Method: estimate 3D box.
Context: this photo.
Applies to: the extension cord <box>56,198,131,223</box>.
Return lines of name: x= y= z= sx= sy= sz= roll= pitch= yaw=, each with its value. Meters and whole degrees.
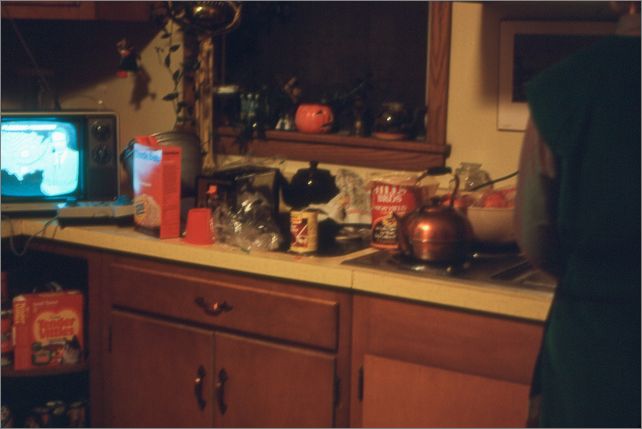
extension cord: x=-0.859 y=-0.020 z=2.254 sx=0.267 sy=0.075 sz=0.135 roll=-4 pitch=7 yaw=-24

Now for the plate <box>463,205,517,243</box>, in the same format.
plate: x=0.566 y=0.021 z=1.967 sx=0.170 sy=0.107 sz=0.170 roll=3 pitch=3 yaw=35

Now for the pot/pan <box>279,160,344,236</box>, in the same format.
pot/pan: x=-0.045 y=-0.117 z=2.299 sx=0.233 sy=0.173 sz=0.196 roll=-1 pitch=6 yaw=-1

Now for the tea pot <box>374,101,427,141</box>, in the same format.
tea pot: x=0.299 y=-0.359 z=2.303 sx=0.142 sy=0.152 sz=0.181 roll=-2 pitch=13 yaw=-16

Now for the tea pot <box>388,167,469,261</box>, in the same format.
tea pot: x=0.346 y=-0.001 z=1.853 sx=0.177 sy=0.289 sz=0.188 roll=1 pitch=13 yaw=0

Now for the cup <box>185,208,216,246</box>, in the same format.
cup: x=-0.414 y=0.041 z=2.064 sx=0.092 sy=0.119 sz=0.095 roll=-1 pitch=6 yaw=0
